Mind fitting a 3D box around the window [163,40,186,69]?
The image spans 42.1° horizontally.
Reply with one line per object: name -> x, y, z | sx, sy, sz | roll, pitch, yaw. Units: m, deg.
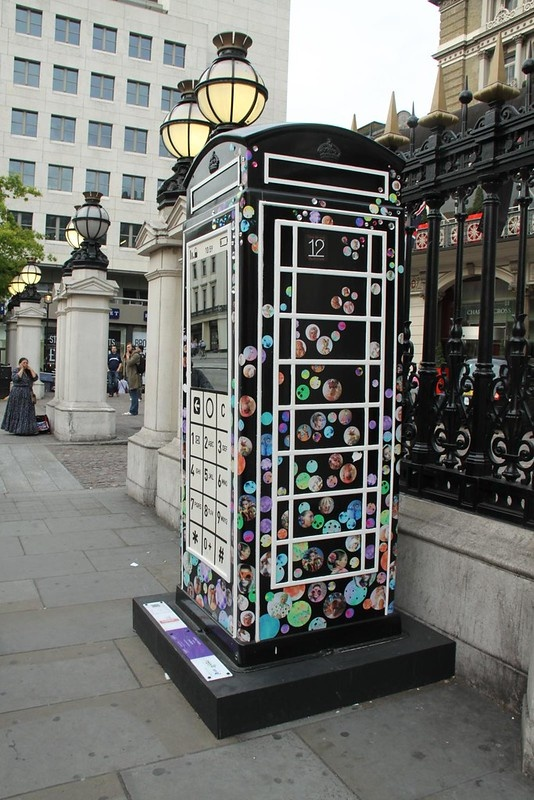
window -> -5.934, -21.921, 43.987 | 1.994, 2.134, 0.228 | -2, 14, -28

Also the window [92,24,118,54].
window -> -9.883, -21.896, 41.983 | 1.947, 2.094, 0.215 | 0, 8, -24

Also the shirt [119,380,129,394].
shirt -> -6.125, -0.552, 29.585 | 0.446, 0.849, 0.451 | -3, 9, -11

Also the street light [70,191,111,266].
street light -> -3.330, -3.208, 13.210 | 0.704, 1.442, 0.694 | 1, 7, -12

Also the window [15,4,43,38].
window -> -13.874, -22.038, 40.204 | 2.003, 2.133, 0.236 | -2, 16, -28

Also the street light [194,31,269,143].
street light -> -0.267, -2.423, 5.446 | 0.537, 0.803, 0.559 | 1, 0, 5

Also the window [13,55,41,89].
window -> -13.995, -19.023, 40.144 | 1.936, 2.076, 0.136 | -4, 12, -27

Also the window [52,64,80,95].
window -> -11.992, -19.023, 41.060 | 1.890, 2.026, 0.219 | 1, 9, -27

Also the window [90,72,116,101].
window -> -9.994, -18.947, 41.859 | 1.749, 1.884, 0.267 | 1, 5, -23

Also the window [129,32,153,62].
window -> -7.890, -21.924, 42.963 | 1.987, 1.838, 0.210 | -2, 11, -33

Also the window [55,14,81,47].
window -> -11.877, -21.948, 41.075 | 1.958, 2.099, 0.286 | -2, 11, -27

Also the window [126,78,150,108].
window -> -8.050, -18.961, 42.831 | 1.960, 2.089, 0.285 | 0, 3, -30

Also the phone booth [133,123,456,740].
phone booth -> 0.097, 0.011, 3.477 | 1.450, 2.630, 1.456 | -1, 4, -15
